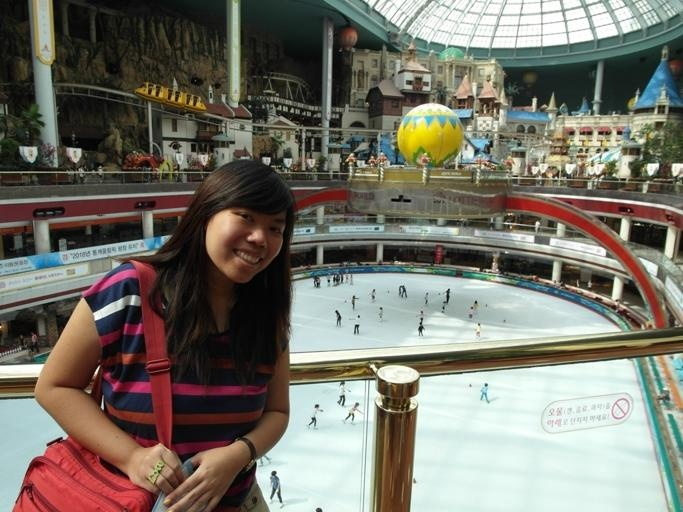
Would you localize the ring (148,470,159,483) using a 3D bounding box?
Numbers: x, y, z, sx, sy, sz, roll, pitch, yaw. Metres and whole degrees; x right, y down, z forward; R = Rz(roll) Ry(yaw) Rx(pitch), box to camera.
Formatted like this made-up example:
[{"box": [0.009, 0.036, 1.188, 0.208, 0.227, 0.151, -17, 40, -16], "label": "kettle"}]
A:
[{"box": [-0.656, 0.769, 1.801, 0.029, 0.030, 0.011, -17, 46, -18], "label": "ring"}]

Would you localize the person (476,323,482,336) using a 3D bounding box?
[{"box": [5.571, 2.924, 20.945, 0.191, 0.438, 0.793, 2, 6, 14], "label": "person"}]

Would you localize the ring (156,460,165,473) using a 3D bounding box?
[{"box": [-0.636, 0.740, 1.812, 0.028, 0.029, 0.028, 17, 0, 0], "label": "ring"}]

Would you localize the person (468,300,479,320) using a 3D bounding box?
[{"box": [6.076, 2.511, 23.793, 0.487, 0.363, 0.899, 5, 34, 21], "label": "person"}]
